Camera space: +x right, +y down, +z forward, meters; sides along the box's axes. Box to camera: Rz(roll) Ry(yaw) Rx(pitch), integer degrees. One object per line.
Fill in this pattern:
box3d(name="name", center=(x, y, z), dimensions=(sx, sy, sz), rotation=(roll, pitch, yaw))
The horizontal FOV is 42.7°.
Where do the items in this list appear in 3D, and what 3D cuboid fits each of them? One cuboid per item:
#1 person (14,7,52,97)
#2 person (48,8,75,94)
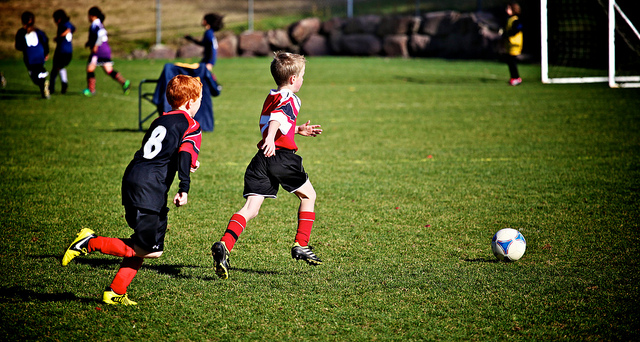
box3d(name="person", center=(-5.884, -2.448, 16.793), dimensions=(0.679, 1.793, 0.603), rotation=(0, -1, 37))
box3d(name="person", center=(-5.464, -2.524, 17.223), dimensions=(0.723, 1.683, 0.569), rotation=(0, 2, 2))
